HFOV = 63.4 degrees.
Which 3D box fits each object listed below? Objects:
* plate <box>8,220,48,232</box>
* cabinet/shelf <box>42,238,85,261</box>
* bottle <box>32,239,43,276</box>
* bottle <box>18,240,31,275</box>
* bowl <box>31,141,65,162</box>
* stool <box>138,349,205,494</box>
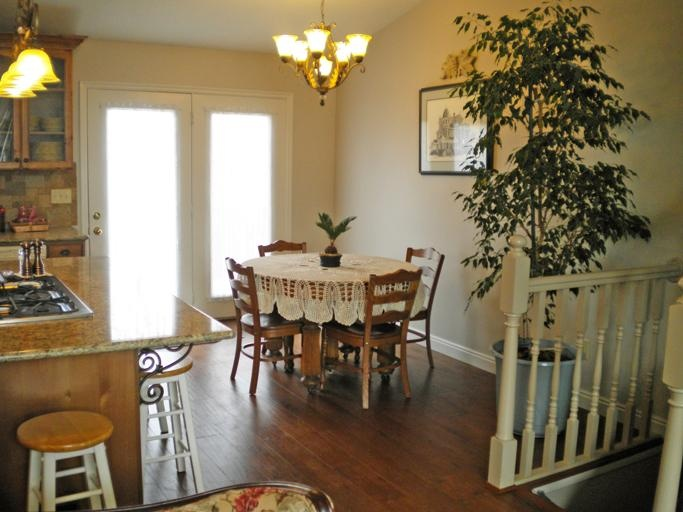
[{"bbox_3d":[-2.912,-0.267,5.087,0.336,0.086,0.211,-2,10,-13],"label":"plate"},{"bbox_3d":[-2.410,-0.063,4.789,0.265,0.253,0.182,-1,8,-23],"label":"cabinet/shelf"},{"bbox_3d":[-1.752,0.008,3.175,0.054,0.195,0.140,-3,11,-18],"label":"bottle"},{"bbox_3d":[-1.791,0.019,3.103,0.063,0.190,0.045,1,11,3],"label":"bottle"},{"bbox_3d":[-2.624,-0.897,4.908,0.201,0.125,0.201,2,1,0],"label":"bowl"},{"bbox_3d":[-0.991,0.861,3.150,0.314,0.823,1.185,-4,11,-20],"label":"stool"}]
